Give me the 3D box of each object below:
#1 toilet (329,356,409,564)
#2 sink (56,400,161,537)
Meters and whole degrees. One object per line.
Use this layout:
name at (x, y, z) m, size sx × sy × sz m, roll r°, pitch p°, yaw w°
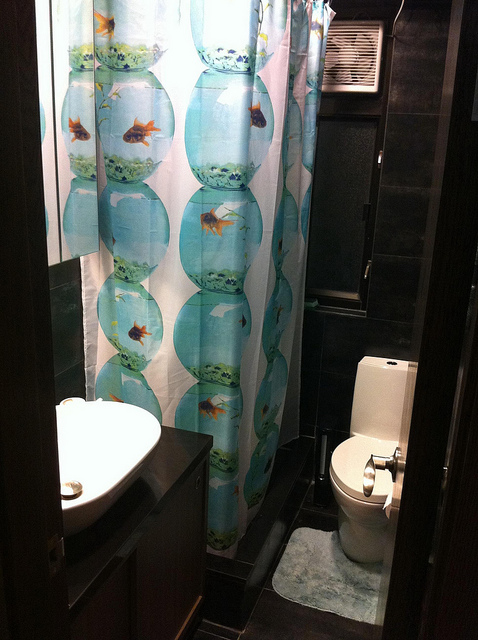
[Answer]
toilet at (0.619, 0.703, 2.506) m, size 0.305 × 0.883 × 0.710 m, roll 6°, pitch 12°, yaw 20°
sink at (-0.349, 0.410, 1.407) m, size 0.277 × 0.187 × 0.551 m, roll -2°, pitch 15°, yaw -22°
